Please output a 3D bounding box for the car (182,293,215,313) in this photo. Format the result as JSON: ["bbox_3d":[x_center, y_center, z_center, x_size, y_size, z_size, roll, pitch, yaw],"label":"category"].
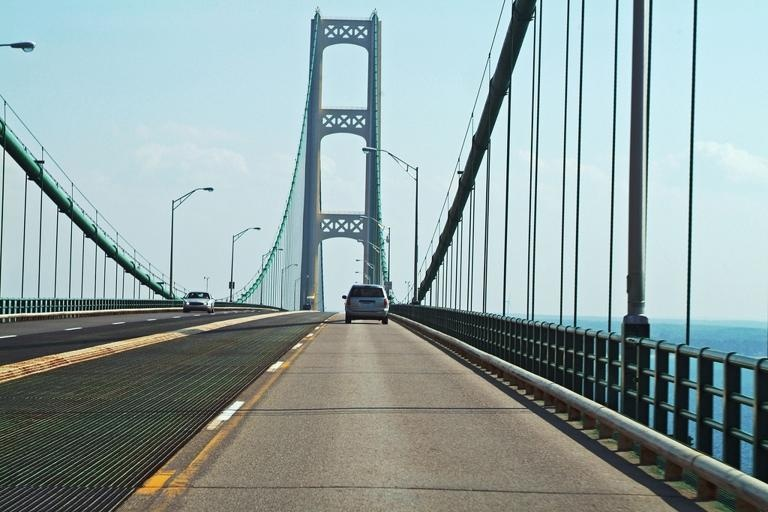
[{"bbox_3d":[-15.087,3.792,60.307,2.248,1.618,2.852,2,0,-11],"label":"car"}]

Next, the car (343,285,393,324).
[{"bbox_3d":[-1.058,2.669,42.432,2.339,2.499,5.101,1,-3,-5],"label":"car"}]
